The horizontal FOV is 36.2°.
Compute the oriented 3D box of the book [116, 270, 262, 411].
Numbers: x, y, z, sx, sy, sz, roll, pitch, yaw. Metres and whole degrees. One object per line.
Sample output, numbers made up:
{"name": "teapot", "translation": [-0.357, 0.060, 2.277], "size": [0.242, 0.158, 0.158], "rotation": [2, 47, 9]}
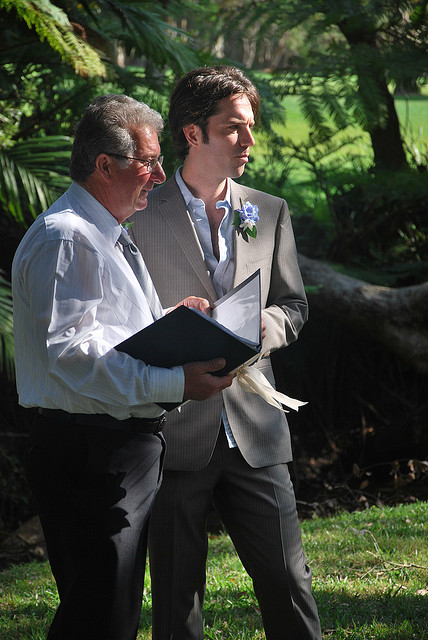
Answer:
{"name": "book", "translation": [-0.160, 0.045, 1.922], "size": [0.503, 0.170, 0.381], "rotation": [-34, -45, 20]}

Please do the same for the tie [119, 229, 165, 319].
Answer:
{"name": "tie", "translation": [-0.230, -0.138, 2.091], "size": [0.048, 0.087, 0.378], "rotation": [-3, -36, 16]}

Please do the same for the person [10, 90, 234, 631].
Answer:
{"name": "person", "translation": [-0.284, 0.081, 1.820], "size": [0.490, 1.496, 0.341], "rotation": [-3, -3, -25]}

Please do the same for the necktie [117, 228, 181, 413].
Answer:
{"name": "necktie", "translation": [-0.199, -0.044, 2.145], "size": [0.082, 0.539, 0.073], "rotation": [-30, 12, -10]}

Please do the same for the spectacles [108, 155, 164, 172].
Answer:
{"name": "spectacles", "translation": [-0.214, -0.472, 1.935], "size": [0.093, 0.024, 0.082], "rotation": [7, -3, 1]}
